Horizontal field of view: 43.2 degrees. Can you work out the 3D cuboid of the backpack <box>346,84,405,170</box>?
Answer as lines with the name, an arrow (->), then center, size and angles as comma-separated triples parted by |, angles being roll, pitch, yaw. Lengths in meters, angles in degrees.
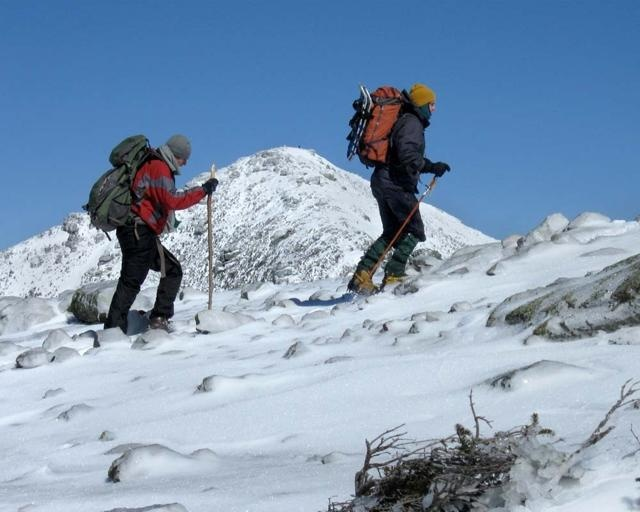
backpack -> 0.668, -1.576, 9.594 | 0.762, 0.816, 0.372 | -6, 2, 3

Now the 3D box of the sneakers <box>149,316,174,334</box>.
sneakers -> -1.698, 0.735, 8.628 | 0.346, 0.148, 0.124 | 12, -10, -26

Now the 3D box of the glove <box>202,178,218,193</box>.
glove -> -1.189, -0.776, 8.749 | 0.188, 0.179, 0.134 | -11, 17, -38

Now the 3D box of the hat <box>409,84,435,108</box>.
hat -> 1.197, -1.935, 9.585 | 0.281, 0.233, 0.196 | -6, 2, 6

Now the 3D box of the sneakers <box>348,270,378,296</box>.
sneakers -> 0.520, 0.340, 10.016 | 0.333, 0.248, 0.251 | 3, -3, 0
